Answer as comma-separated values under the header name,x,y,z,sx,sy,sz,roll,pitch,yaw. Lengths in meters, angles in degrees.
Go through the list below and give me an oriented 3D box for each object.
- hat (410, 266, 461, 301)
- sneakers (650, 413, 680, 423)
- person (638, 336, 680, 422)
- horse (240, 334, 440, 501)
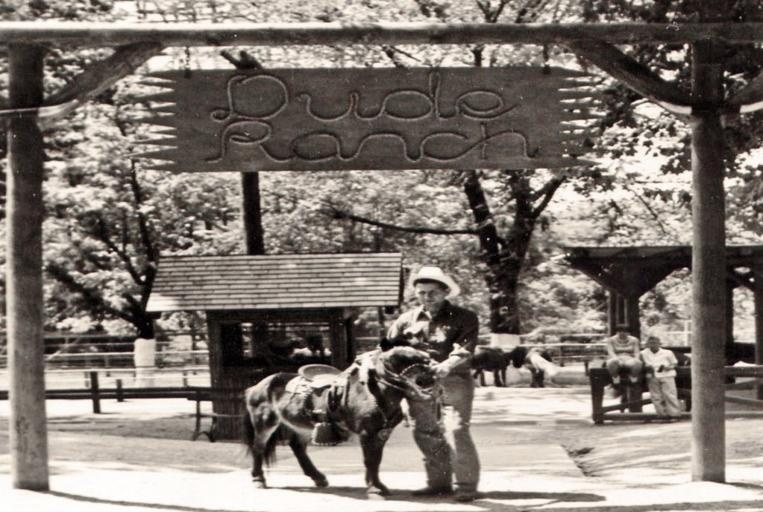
name,x,y,z,sx,sy,sz,roll,pitch,yaw
hat,0.921,0.648,43.503,0.988,0.283,1.065,11,-16,-29
sneakers,6.616,3.843,49.784,0.743,0.179,0.227,-3,-4,24
person,6.624,2.889,50.128,0.802,1.893,0.813,-1,-4,-14
horse,-0.923,3.433,43.774,5.509,2.808,1.996,-3,-3,44
